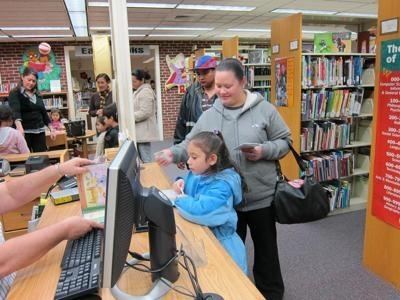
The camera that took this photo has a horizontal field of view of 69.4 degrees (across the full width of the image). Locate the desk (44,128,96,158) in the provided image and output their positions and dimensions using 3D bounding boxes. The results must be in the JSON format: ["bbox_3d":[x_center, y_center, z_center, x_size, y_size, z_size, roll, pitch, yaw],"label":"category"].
[{"bbox_3d":[-2.716,-0.179,5.858,0.748,0.506,0.728,0,8,8],"label":"desk"}]

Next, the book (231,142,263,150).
[{"bbox_3d":[0.318,-0.027,1.929,0.141,0.014,0.188,-17,-9,41],"label":"book"}]

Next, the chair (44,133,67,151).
[{"bbox_3d":[-2.709,-0.143,5.430,0.271,0.397,0.353,-2,33,-16],"label":"chair"}]
